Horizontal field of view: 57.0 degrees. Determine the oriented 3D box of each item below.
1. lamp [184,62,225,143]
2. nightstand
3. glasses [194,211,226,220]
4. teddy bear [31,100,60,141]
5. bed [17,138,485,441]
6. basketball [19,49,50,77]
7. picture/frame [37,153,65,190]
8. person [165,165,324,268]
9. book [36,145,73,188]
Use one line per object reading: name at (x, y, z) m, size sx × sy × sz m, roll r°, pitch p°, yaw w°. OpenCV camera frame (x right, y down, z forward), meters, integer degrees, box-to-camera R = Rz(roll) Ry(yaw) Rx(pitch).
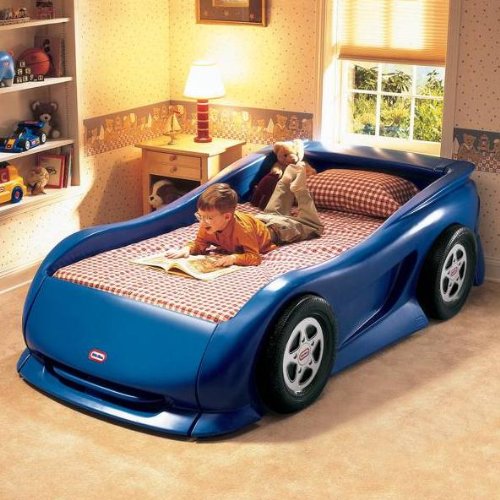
lamp at (-0.341, -1.176, 3.659) m, size 0.305 × 0.633 × 0.335 m, roll 1°, pitch 11°, yaw 5°
nightstand at (-0.535, -0.578, 3.756) m, size 0.579 × 0.565 × 0.425 m, roll 10°, pitch 23°, yaw 10°
glasses at (-0.167, -0.152, 2.012) m, size 0.084 × 0.035 × 0.063 m, roll -8°, pitch 16°, yaw -25°
teddy bear at (-1.406, -0.897, 3.174) m, size 0.182 × 0.227 × 0.152 m, roll -14°, pitch 37°, yaw -40°
bed at (0.233, 0.094, 2.120) m, size 1.229 × 0.586 × 1.862 m, roll 14°, pitch 25°, yaw 38°
basketball at (-1.348, -1.188, 2.984) m, size 0.205 × 0.165 × 0.167 m, roll -6°, pitch 18°, yaw -44°
picture/frame at (-1.359, -0.544, 3.151) m, size 0.238 × 0.270 × 0.046 m, roll 9°, pitch 17°, yaw 20°
person at (0.007, -0.168, 2.262) m, size 0.810 × 0.404 × 0.398 m, roll -15°, pitch 24°, yaw -37°
book at (-1.326, -0.602, 3.322) m, size 0.298 × 0.281 × 0.280 m, roll 1°, pitch 12°, yaw -8°
